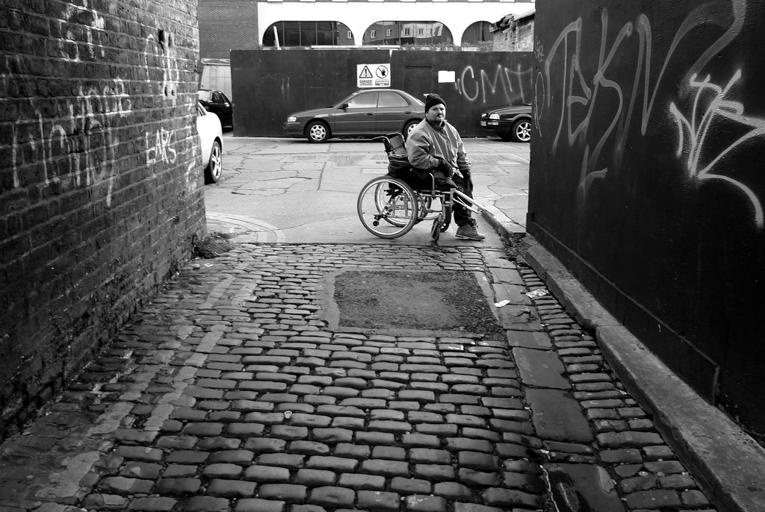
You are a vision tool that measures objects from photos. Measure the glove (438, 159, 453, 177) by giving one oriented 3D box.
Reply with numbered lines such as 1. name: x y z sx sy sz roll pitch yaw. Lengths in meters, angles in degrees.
1. glove: 0.907 -1.311 8.144 0.251 0.228 0.200 7 10 -18

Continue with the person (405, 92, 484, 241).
1. person: 0.910 -1.378 8.350 1.200 2.031 1.101 -9 22 -20
